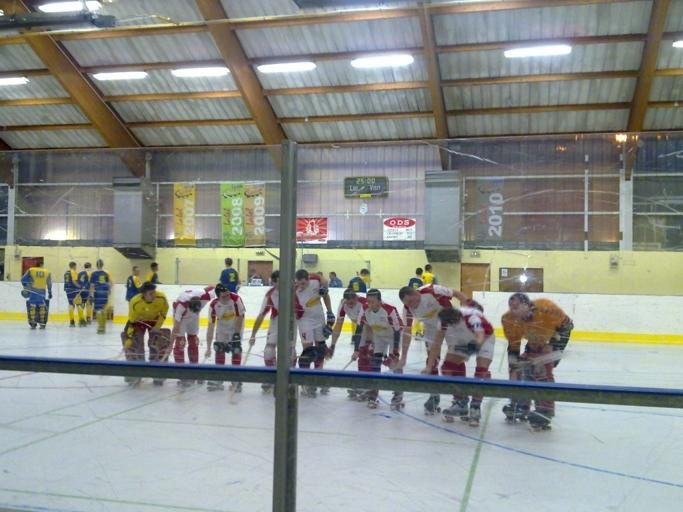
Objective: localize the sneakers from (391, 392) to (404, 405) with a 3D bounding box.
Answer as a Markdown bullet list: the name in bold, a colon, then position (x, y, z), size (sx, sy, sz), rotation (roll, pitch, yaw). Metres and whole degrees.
- **sneakers**: position (0.383, 0.974, 4.352), size (0.063, 0.069, 0.114), rotation (1, 1, 16)

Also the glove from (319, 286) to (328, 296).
- **glove**: position (-0.114, 0.231, 4.157), size (0.059, 0.049, 0.041), rotation (-5, 1, 0)

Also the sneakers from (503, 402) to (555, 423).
- **sneakers**: position (1.273, 1.041, 4.362), size (0.226, 0.088, 0.213), rotation (-2, -6, 24)
